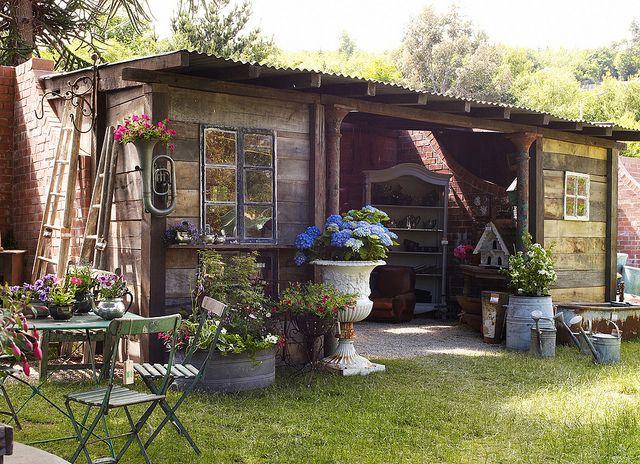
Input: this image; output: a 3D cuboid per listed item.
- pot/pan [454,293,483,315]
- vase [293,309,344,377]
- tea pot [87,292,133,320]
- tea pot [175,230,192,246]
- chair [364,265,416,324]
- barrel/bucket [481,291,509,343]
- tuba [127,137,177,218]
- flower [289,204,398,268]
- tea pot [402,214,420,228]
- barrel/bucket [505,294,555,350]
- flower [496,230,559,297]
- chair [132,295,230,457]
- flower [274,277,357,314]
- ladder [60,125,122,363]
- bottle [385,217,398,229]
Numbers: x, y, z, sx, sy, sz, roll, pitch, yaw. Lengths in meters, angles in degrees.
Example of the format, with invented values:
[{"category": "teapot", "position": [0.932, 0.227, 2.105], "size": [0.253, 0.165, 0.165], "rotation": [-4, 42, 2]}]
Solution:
[{"category": "pot/pan", "position": [2.552, 1.234, 11.588], "size": [0.212, 0.381, 0.627], "rotation": [-3, 9, -29]}, {"category": "vase", "position": [-0.049, 1.352, 8.883], "size": [0.604, 0.800, 0.627], "rotation": [1, 8, -1]}, {"category": "tea pot", "position": [-2.177, 0.772, 7.306], "size": [0.434, 0.305, 0.302], "rotation": [-1, 0, -32]}, {"category": "tea pot", "position": [-1.624, 0.085, 8.287], "size": [0.160, 0.130, 0.127], "rotation": [0, 3, -23]}, {"category": "chair", "position": [1.290, 1.075, 12.521], "size": [0.741, 1.057, 0.755], "rotation": [4, 4, 19]}, {"category": "barrel/bucket", "position": [2.732, 1.339, 10.922], "size": [0.397, 0.721, 0.452], "rotation": [9, -4, -20]}, {"category": "tuba", "position": [-1.955, -0.682, 8.299], "size": [0.445, 1.001, 0.354], "rotation": [-3, 5, -35]}, {"category": "flower", "position": [0.335, 0.083, 9.027], "size": [1.294, 0.807, 0.706], "rotation": [1, 8, -2]}, {"category": "tea pot", "position": [1.817, -0.219, 13.628], "size": [0.365, 0.311, 0.210], "rotation": [3, -6, -13]}, {"category": "barrel/bucket", "position": [3.065, 1.307, 10.382], "size": [0.698, 0.876, 0.733], "rotation": [1, -4, 0]}, {"category": "flower", "position": [3.163, 0.486, 10.491], "size": [0.754, 0.927, 0.691], "rotation": [-7, 11, -44]}, {"category": "chair", "position": [-1.274, 1.336, 6.717], "size": [0.712, 1.672, 0.864], "rotation": [0, 6, -30]}, {"category": "flower", "position": [-0.017, 0.859, 8.688], "size": [0.988, 0.361, 0.431], "rotation": [1, 8, 0]}, {"category": "ladder", "position": [-3.000, 0.036, 9.044], "size": [0.466, 3.216, 0.796], "rotation": [-1, 5, -22]}, {"category": "bottle", "position": [1.353, -0.167, 13.128], "size": [0.231, 0.239, 0.126], "rotation": [3, -6, -34]}]
